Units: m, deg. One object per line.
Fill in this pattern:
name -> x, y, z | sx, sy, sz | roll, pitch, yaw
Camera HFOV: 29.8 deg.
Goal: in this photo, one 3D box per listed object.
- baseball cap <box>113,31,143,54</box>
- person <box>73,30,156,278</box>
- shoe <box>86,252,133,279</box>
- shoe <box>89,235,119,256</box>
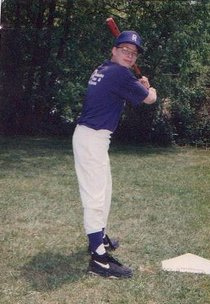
baseball cap -> 0.211, -0.957, 3.402 | 0.238, 0.215, 0.357 | 3, 8, 4
person -> 0.061, -0.022, 3.535 | 0.657, 2.049, 0.768 | 3, 8, 5
shoe -> 0.069, 0.963, 3.391 | 0.404, 0.183, 0.169 | -4, 3, 37
shoe -> -0.002, 0.896, 3.894 | 0.126, 0.152, 0.356 | 8, 5, 26
